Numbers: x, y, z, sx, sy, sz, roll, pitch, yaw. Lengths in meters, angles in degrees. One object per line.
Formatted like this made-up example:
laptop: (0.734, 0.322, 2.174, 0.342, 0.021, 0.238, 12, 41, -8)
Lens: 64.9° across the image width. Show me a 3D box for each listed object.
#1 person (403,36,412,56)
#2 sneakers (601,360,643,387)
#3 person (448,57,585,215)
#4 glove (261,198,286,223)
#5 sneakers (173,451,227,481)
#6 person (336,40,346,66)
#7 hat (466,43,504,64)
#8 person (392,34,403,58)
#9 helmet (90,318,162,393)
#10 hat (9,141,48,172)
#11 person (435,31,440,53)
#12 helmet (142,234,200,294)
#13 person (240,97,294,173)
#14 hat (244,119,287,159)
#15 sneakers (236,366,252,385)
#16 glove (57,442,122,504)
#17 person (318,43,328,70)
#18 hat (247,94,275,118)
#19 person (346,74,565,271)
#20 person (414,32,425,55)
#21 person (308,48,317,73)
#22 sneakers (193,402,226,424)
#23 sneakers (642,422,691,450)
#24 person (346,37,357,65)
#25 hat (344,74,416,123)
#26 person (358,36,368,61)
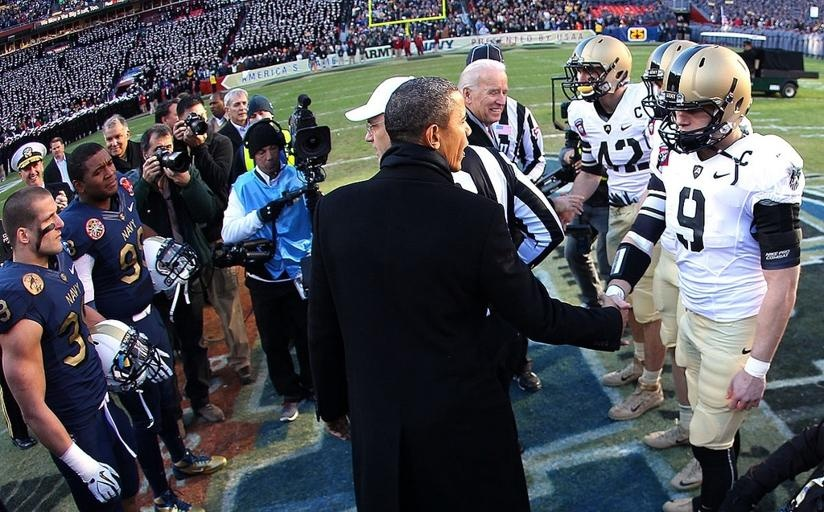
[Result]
person: (-0.252, -10.050, 31.166, 0.337, 0.851, 1.107, -4, 22, 5)
sneakers: (1.965, 1.107, 6.039, 0.492, 0.217, 0.167, -1, 3, 1)
person: (0.925, -1.159, 5.146, 0.677, 1.134, 1.502, 2, 18, 23)
glove: (-1.227, -0.396, 5.699, 0.236, 0.174, 0.094, -28, -25, 29)
sneakers: (-1.851, 1.788, 5.792, 0.505, 0.249, 0.204, -9, 20, -13)
person: (-3.459, -9.769, 31.457, 0.472, 0.825, 1.623, -8, 22, -4)
hat: (0.712, -1.946, 6.252, 0.338, 0.292, 0.510, 1, 19, -2)
person: (-0.669, -9.920, 30.988, 0.505, 0.879, 0.630, -7, 22, -2)
helmet: (-2.212, 0.771, 5.167, 0.581, 0.466, 0.432, 19, 9, -17)
hat: (-4.286, -1.138, 7.218, 0.357, 0.185, 0.378, -20, -1, -23)
person: (1.197, -10.409, 31.542, 0.275, 0.812, 0.598, -2, 22, 11)
helmet: (-2.192, 0.069, 5.933, 0.503, 0.425, 0.383, 19, -2, -8)
person: (-1.497, -1.318, 6.530, 0.642, 0.896, 0.400, -7, -1, -12)
hat: (-1.309, -1.083, 5.910, 0.292, 0.387, 0.346, -6, 18, -3)
sneakers: (-1.746, 1.244, 6.713, 0.169, 0.241, 0.135, -1, 11, -1)
glove: (-2.263, 1.547, 4.624, 0.149, 0.523, 0.283, -26, 20, 37)
person: (-4.265, -9.522, 30.994, 0.649, 1.047, 1.012, -6, 22, -1)
hat: (-1.619, -1.567, 6.942, 0.243, 0.282, 0.329, -11, 24, 2)
person: (0.500, -0.838, 4.919, 0.720, 0.971, 1.667, 1, 25, 17)
person: (0.326, -10.186, 31.315, 0.470, 0.880, 1.136, -5, 22, 2)
person: (-4.651, -9.205, 30.627, 0.446, 0.877, 0.273, -20, 25, -31)
sneakers: (-1.955, 1.520, 6.304, 0.336, 0.147, 0.145, 4, 36, 23)
sneakers: (2.121, 1.514, 5.469, 0.461, 0.188, 0.167, 0, 9, 7)
person: (-2.909, -9.814, 31.248, 0.525, 1.032, 0.732, -8, 22, -4)
hat: (-0.250, -1.100, 4.577, 0.496, 0.200, 0.314, -24, 20, -7)
person: (-2.407, -10.038, 31.412, 0.427, 0.990, 0.713, -5, 22, 2)
